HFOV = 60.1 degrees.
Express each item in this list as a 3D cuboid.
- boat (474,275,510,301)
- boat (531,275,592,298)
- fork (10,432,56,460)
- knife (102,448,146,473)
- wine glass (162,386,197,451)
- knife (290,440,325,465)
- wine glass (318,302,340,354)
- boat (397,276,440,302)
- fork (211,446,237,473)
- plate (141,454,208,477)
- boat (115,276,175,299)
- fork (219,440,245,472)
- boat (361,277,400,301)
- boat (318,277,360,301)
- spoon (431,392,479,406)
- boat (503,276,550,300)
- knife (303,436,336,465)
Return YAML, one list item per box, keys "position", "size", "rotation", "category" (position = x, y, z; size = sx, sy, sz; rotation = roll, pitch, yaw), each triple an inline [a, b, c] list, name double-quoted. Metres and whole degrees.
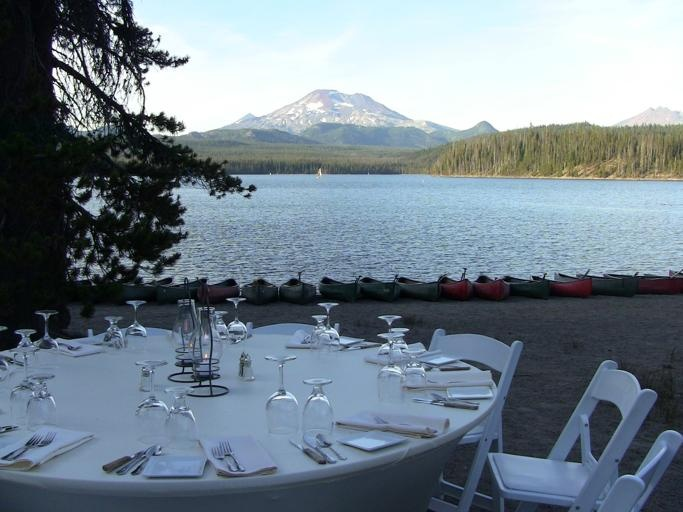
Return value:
- position: [4.088, 0.929, 16.399]
  size: [0.575, 0.394, 0.907]
  rotation: [-1, -1, -7]
  category: "boat"
- position: [6.291, 0.905, 16.618]
  size: [0.671, 0.437, 1.263]
  rotation: [-2, 0, -36]
  category: "boat"
- position: [-1.728, 1.059, 3.303]
  size: [0.059, 0.035, 0.239]
  rotation: [3, 13, 12]
  category: "fork"
- position: [-1.176, 1.107, 3.234]
  size: [0.059, 0.047, 0.376]
  rotation: [-3, 1, 14]
  category: "knife"
- position: [-0.921, 0.911, 3.376]
  size: [0.179, 0.354, 0.159]
  rotation: [-1, 10, -15]
  category: "wine glass"
- position: [-0.191, 1.101, 3.317]
  size: [0.065, 0.032, 0.270]
  rotation: [-37, 18, -26]
  category: "knife"
- position: [-0.109, 0.628, 5.165]
  size: [0.258, 0.409, 0.263]
  rotation: [-2, 0, -13]
  category: "wine glass"
- position: [2.054, 0.940, 16.186]
  size: [1.050, 0.403, 0.532]
  rotation: [-1, 1, 44]
  category: "boat"
- position: [-0.634, 1.100, 3.221]
  size: [0.065, 0.035, 0.244]
  rotation: [-2, 12, -20]
  category: "fork"
- position: [-0.887, 1.125, 3.151]
  size: [0.316, 0.036, 0.182]
  rotation: [1, 9, 0]
  category: "plate"
- position: [-4.642, 0.786, 13.951]
  size: [1.300, 0.490, 0.671]
  rotation: [1, 0, -42]
  category: "boat"
- position: [-0.607, 1.068, 3.228]
  size: [0.065, 0.040, 0.274]
  rotation: [-2, 16, -20]
  category: "fork"
- position: [0.938, 0.925, 16.089]
  size: [0.522, 0.442, 1.032]
  rotation: [-4, 4, -42]
  category: "boat"
- position: [-0.161, 0.909, 15.807]
  size: [1.038, 0.438, 0.533]
  rotation: [1, 2, 40]
  category: "boat"
- position: [0.776, 1.009, 4.102]
  size: [0.195, 0.038, 0.111]
  rotation: [-3, 6, 2]
  category: "spoon"
- position: [5.200, 0.931, 16.502]
  size: [0.514, 0.355, 1.002]
  rotation: [-4, 2, -41]
  category: "boat"
- position: [-0.127, 1.098, 3.339]
  size: [0.064, 0.048, 0.454]
  rotation: [-11, 4, -15]
  category: "knife"
